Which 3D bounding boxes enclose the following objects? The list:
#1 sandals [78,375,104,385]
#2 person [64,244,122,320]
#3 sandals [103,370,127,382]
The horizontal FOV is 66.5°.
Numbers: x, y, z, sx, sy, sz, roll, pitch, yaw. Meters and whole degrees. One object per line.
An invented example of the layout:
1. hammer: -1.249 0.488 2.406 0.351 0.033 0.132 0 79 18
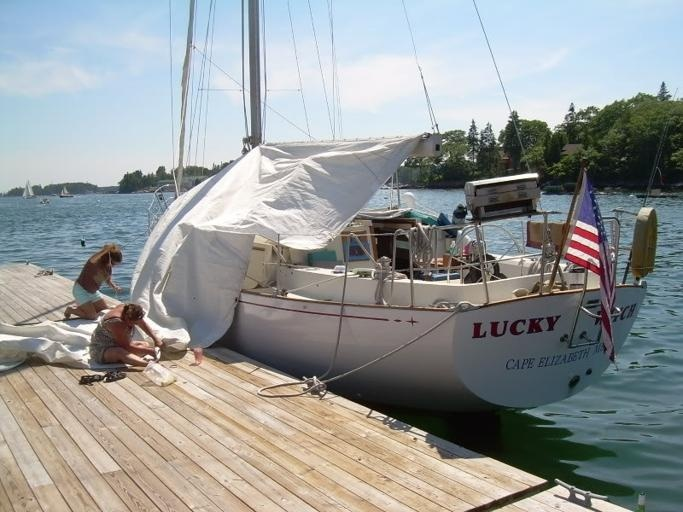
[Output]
1. sandals: -2.604 1.299 5.456 0.231 0.040 0.238 -1 10 -11
2. person: -4.007 0.458 8.442 0.992 1.335 0.551 6 39 -30
3. sandals: -2.393 1.291 5.531 0.208 0.049 0.211 -3 11 -21
